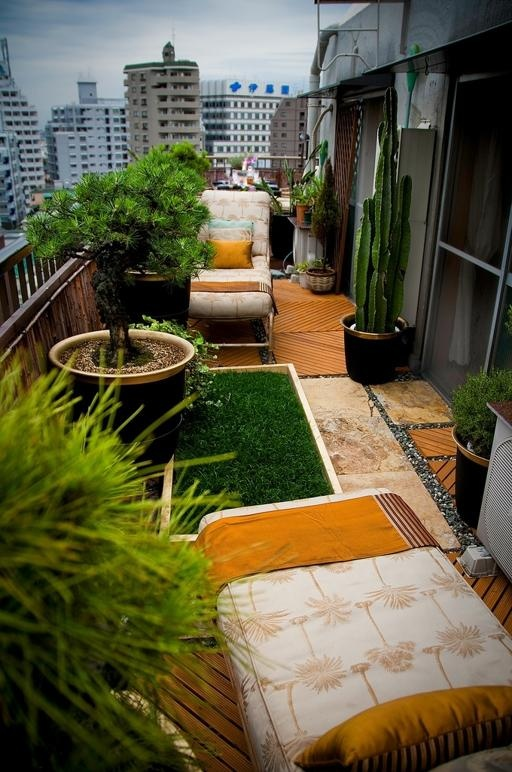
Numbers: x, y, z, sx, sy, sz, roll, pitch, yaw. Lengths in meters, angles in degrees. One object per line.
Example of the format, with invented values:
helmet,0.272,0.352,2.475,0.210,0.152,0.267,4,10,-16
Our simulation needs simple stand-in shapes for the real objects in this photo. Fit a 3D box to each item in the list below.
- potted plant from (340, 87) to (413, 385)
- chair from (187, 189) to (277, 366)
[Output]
potted plant,1.181,-1.321,4.367,0.595,2.638,0.632,17,27,37
chair,-0.373,-1.137,6.071,0.997,1.528,2.243,-1,5,-6
